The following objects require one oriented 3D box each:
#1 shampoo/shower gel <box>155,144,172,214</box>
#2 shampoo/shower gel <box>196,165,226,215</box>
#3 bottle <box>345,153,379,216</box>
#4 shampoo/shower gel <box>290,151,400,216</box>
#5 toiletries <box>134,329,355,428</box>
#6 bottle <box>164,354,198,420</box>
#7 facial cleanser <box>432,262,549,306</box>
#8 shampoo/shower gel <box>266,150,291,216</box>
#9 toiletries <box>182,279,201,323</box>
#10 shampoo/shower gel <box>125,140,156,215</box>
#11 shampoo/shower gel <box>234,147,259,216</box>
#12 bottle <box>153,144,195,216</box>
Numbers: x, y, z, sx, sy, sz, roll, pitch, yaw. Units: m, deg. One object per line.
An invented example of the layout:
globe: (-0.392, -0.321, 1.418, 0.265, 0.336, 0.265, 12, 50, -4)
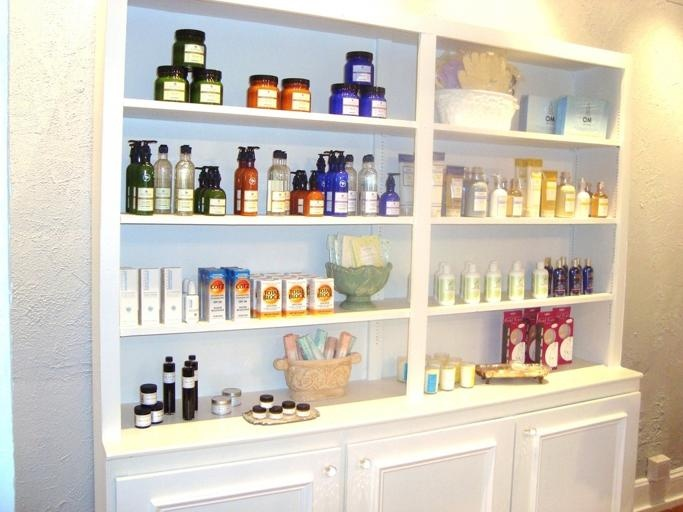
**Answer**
shampoo/shower gel: (-0.748, -0.316, 2.407, 0.081, 0.283, 0.169, -4, 3, -15)
shampoo/shower gel: (-0.561, -0.276, 2.438, 0.113, 0.218, 0.172, -5, 4, -26)
bottle: (0.095, -0.320, 2.679, 0.127, 0.315, 0.107, -3, 13, -26)
shampoo/shower gel: (0.022, -0.332, 2.619, 0.391, 0.320, 0.293, -2, 11, -29)
toiletries: (-0.361, 0.564, 2.712, 1.125, 0.405, 0.338, 6, -8, -31)
bottle: (-0.703, 0.571, 2.549, 0.156, 0.271, 0.119, -1, 4, 28)
facial cleanser: (0.754, 0.146, 3.031, 0.561, 0.236, 0.337, 1, 7, -22)
shampoo/shower gel: (-0.280, -0.322, 2.553, 0.097, 0.284, 0.158, -3, 3, 3)
toiletries: (-0.657, 0.192, 2.443, 0.101, 0.183, 0.067, -1, 4, 37)
shampoo/shower gel: (-0.814, -0.314, 2.330, 0.101, 0.303, 0.159, -5, 4, -34)
shampoo/shower gel: (-0.421, -0.318, 2.470, 0.131, 0.295, 0.113, -3, 3, 9)
bottle: (-0.681, -0.295, 2.351, 0.135, 0.311, 0.116, -1, 11, -27)
